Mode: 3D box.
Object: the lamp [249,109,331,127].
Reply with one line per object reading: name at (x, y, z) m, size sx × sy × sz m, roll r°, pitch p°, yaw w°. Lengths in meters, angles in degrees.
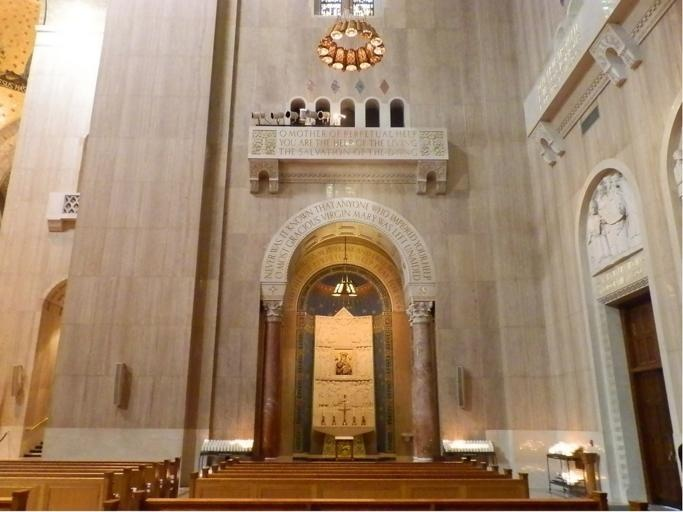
lamp at (-1.241, -3.533, 13.698) m, size 1.178 × 0.330 × 0.870 m, roll -2°, pitch 4°, yaw -19°
